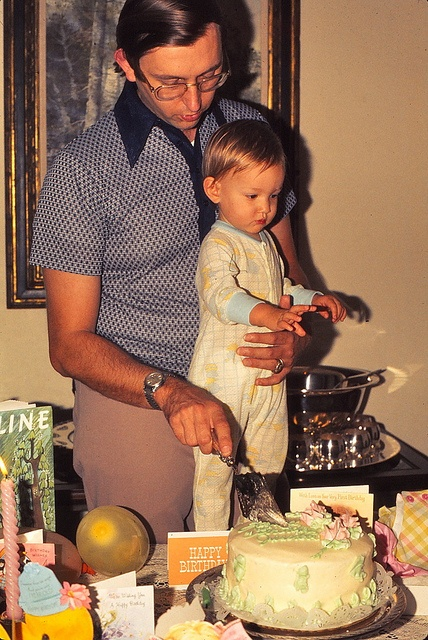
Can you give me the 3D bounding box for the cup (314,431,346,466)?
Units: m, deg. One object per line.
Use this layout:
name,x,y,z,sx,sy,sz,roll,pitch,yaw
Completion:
cup,0.350,0.397,2.111,0.097,0.079,0.090,0,-4,0

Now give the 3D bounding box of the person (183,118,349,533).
person,0.141,0.024,1.596,0.364,1.022,0.505,2,4,-13

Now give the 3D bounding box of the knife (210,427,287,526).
knife,0.048,0.257,1.243,0.055,0.245,0.043,-31,-18,-7

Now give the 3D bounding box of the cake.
cake,0.129,0.378,1.094,0.179,0.096,0.167,0,-1,-21

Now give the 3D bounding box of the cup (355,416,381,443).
cup,0.493,0.354,2.227,0.084,0.068,0.078,2,9,0

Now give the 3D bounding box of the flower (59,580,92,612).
flower,-0.191,0.383,0.949,0.038,0.039,0.013,47,-9,1

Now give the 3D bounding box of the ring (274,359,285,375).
ring,0.144,0.106,1.545,0.022,0.035,0.034,3,4,4

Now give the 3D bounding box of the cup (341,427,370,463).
cup,0.437,0.393,2.120,0.093,0.076,0.087,1,-2,0

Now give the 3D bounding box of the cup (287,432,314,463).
cup,0.259,0.393,2.098,0.087,0.074,0.086,1,-3,0
